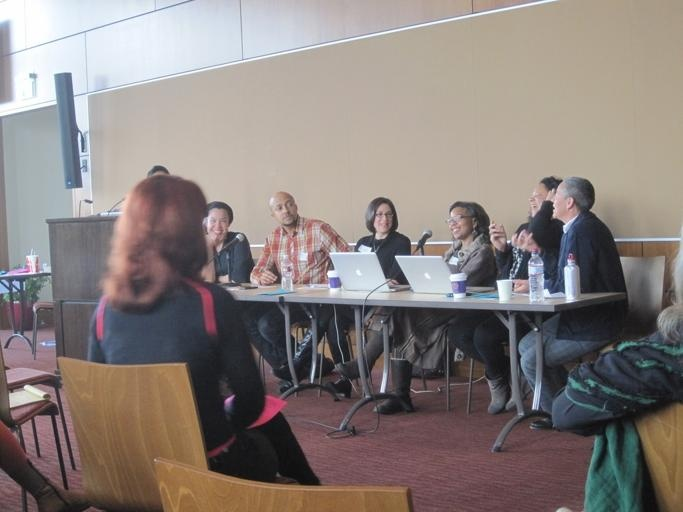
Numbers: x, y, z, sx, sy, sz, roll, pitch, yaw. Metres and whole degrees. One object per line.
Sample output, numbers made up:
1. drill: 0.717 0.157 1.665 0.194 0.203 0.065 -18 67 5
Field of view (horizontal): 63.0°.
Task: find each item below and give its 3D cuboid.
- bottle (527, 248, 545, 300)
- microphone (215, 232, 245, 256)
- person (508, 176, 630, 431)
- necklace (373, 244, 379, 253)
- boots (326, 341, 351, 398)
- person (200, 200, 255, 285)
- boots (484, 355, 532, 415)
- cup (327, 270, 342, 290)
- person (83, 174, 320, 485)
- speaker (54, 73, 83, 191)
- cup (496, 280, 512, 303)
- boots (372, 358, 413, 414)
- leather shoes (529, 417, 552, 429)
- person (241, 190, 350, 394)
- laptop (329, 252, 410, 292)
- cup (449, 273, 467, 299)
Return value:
1. bottle: 1.079 0.109 3.103 0.073 0.255 0.353 -1 3 20
2. microphone: -0.968 -0.098 4.755 0.173 0.086 0.283 -9 22 47
3. person: 1.416 0.338 3.438 0.683 1.568 0.595 -7 7 13
4. necklace: 0.276 -0.056 4.604 0.014 0.056 0.056 5 -13 27
5. boots: -0.029 0.883 4.482 0.140 0.508 0.323 -4 8 1
6. person: -1.078 -0.071 4.810 0.505 0.752 0.611 -3 7 -17
7. boots: 1.160 0.912 3.889 0.141 0.296 0.404 -11 10 36
8. cup: -0.064 0.175 4.044 0.115 0.124 0.120 -3 -6 0
9. person: -0.429 0.356 1.929 0.515 1.179 0.817 -2 4 25
10. speaker: -3.345 -1.530 6.903 0.269 1.398 0.244 0 4 38
11. cup: 0.894 0.193 3.074 0.075 0.114 0.126 -1 3 16
12. boots: 0.392 0.942 3.892 0.384 0.441 0.223 6 -8 -36
13. leather shoes: 1.207 1.017 3.427 0.161 0.062 0.074 2 3 16
14. person: -0.373 0.289 4.831 0.866 1.605 0.748 7 15 27
15. laptop: 0.204 0.079 3.897 0.476 0.317 0.510 -5 10 18
16. cup: 0.682 0.178 3.268 0.120 0.141 0.124 -1 -5 0
